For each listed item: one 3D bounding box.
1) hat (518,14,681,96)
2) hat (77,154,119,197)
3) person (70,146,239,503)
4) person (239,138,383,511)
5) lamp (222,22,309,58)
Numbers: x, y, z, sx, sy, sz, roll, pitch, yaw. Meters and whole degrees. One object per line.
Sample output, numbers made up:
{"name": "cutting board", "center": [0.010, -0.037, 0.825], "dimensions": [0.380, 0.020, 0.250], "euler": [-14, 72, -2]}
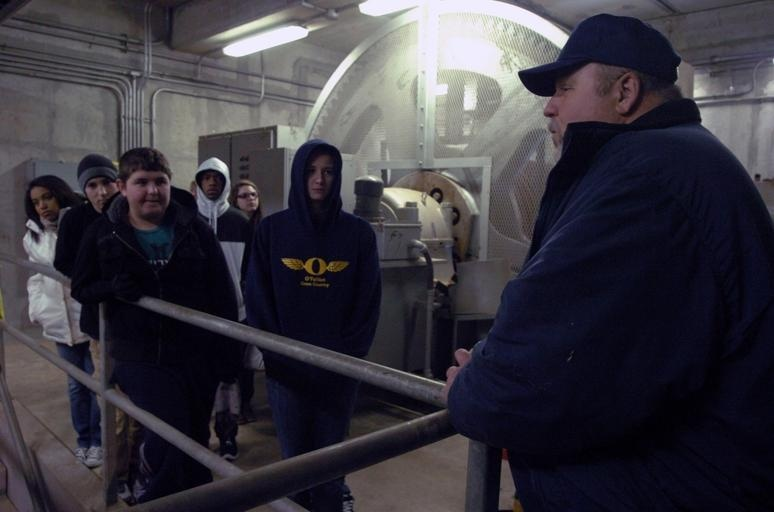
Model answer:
{"name": "hat", "center": [0.630, -0.600, 1.863], "dimensions": [0.447, 0.204, 0.253], "euler": [8, 2, 12]}
{"name": "hat", "center": [-1.797, -0.503, 3.907], "dimensions": [0.238, 0.231, 0.289], "euler": [-12, -12, -41]}
{"name": "person", "center": [-1.132, 0.358, 3.093], "dimensions": [0.695, 1.749, 0.644], "euler": [5, 10, 12]}
{"name": "person", "center": [-0.341, 0.382, 3.033], "dimensions": [0.644, 1.850, 0.572], "euler": [0, 10, -16]}
{"name": "lamp", "center": [-1.524, -2.712, 7.994], "dimensions": [1.067, 0.104, 0.294], "euler": [-7, -19, 43]}
